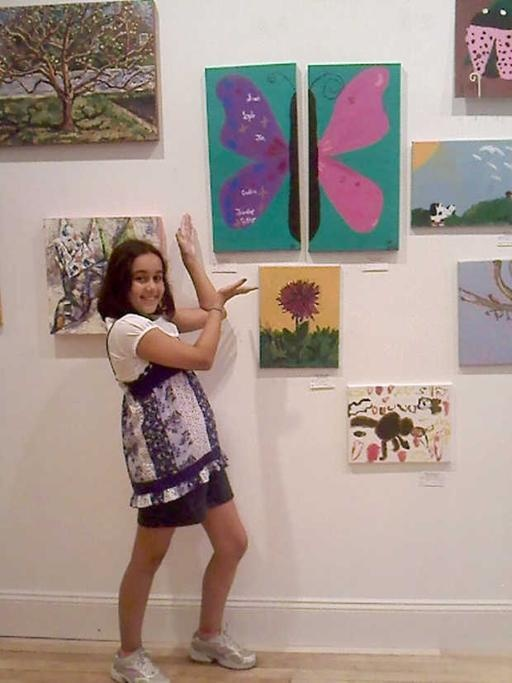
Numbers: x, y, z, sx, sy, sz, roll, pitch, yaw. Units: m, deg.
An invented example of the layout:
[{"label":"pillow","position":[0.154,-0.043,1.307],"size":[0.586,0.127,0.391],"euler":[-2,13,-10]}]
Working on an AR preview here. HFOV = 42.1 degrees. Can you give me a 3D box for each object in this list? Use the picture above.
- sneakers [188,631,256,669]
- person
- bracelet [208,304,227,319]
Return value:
[{"label":"sneakers","position":[-0.113,1.021,2.233],"size":[0.239,0.101,0.090],"euler":[5,-5,12]},{"label":"person","position":[-0.248,0.369,2.122],"size":[0.536,1.420,0.420],"euler":[-9,16,-31]},{"label":"bracelet","position":[-0.124,-0.088,2.081],"size":[0.046,0.013,0.049],"euler":[43,27,3]}]
